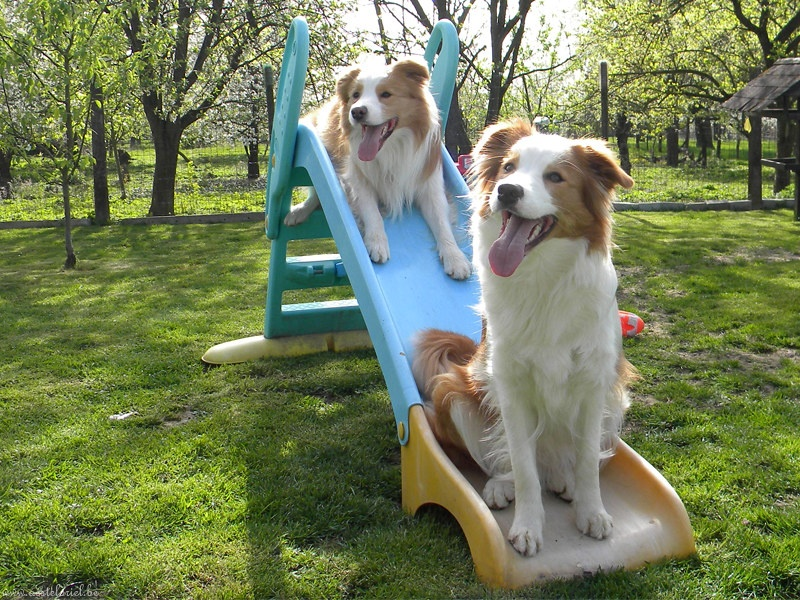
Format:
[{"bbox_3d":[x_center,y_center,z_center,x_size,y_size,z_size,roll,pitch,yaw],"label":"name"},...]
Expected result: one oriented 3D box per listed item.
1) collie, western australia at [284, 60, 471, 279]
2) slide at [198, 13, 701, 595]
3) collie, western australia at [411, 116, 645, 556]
[{"bbox_3d":[-0.347,-1.453,6.424,1.420,1.719,2.675,-6,24,-14],"label":"collie, western australia"},{"bbox_3d":[0.048,-0.272,5.670,2.436,3.054,4.647,-3,18,-28],"label":"slide"},{"bbox_3d":[0.812,0.180,4.415,1.252,2.675,0.786,3,8,19],"label":"collie, western australia"}]
